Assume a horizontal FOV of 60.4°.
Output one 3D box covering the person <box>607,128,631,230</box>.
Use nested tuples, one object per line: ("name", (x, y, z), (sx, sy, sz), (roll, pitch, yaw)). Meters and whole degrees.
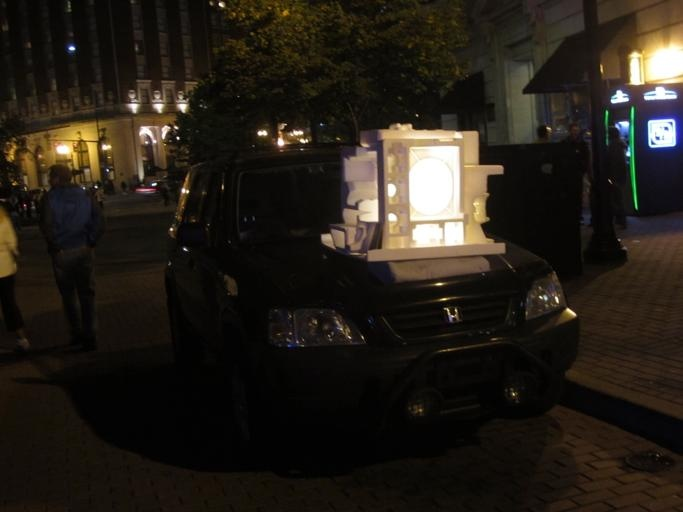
("person", (6.033, -1.700, 12.743), (0.306, 2.193, 1.108), (0, 10, 34))

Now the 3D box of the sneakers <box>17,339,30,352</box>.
("sneakers", (-3.869, 1.083, 7.117), (0.124, 0.218, 0.117), (-9, 12, -39))

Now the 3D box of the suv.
("suv", (-0.292, 0.114, 4.899), (1.893, 1.564, 3.434), (-2, 2, -21))

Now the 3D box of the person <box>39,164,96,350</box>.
("person", (-3.286, -0.031, 7.250), (0.680, 2.202, 0.915), (-10, 9, -29))
